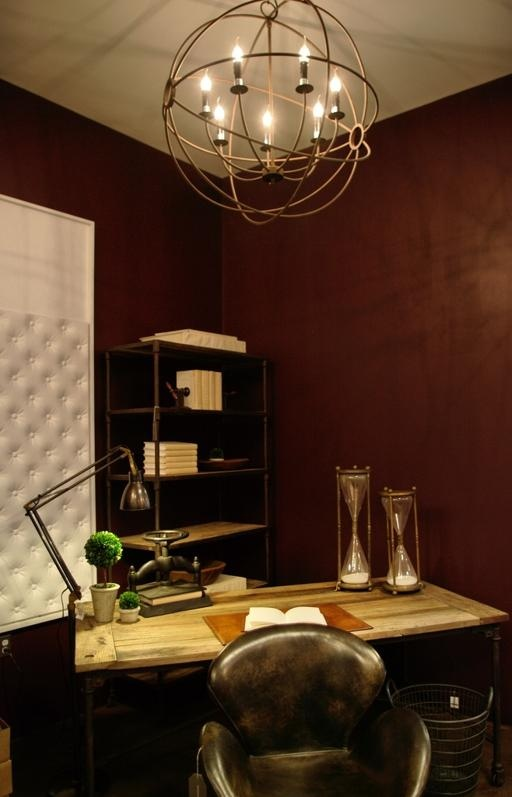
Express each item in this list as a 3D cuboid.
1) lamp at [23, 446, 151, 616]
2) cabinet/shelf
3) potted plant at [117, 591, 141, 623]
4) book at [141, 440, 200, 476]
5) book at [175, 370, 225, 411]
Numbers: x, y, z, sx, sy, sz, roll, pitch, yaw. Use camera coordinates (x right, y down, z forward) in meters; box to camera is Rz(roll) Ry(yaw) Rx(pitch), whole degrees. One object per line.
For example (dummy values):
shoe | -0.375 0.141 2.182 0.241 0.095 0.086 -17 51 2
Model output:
lamp | -0.680 0.486 2.553 0.474 0.667 0.127 0 31 -19
cabinet/shelf | -0.330 0.504 3.701 0.761 1.576 0.381 2 2 -35
potted plant | -0.464 0.771 2.417 0.085 0.117 0.092 0 -4 16
book | -0.430 0.299 3.245 0.268 0.174 0.243 -2 1 -11
book | -0.319 -0.039 3.554 0.192 0.284 0.261 1 -3 -38
